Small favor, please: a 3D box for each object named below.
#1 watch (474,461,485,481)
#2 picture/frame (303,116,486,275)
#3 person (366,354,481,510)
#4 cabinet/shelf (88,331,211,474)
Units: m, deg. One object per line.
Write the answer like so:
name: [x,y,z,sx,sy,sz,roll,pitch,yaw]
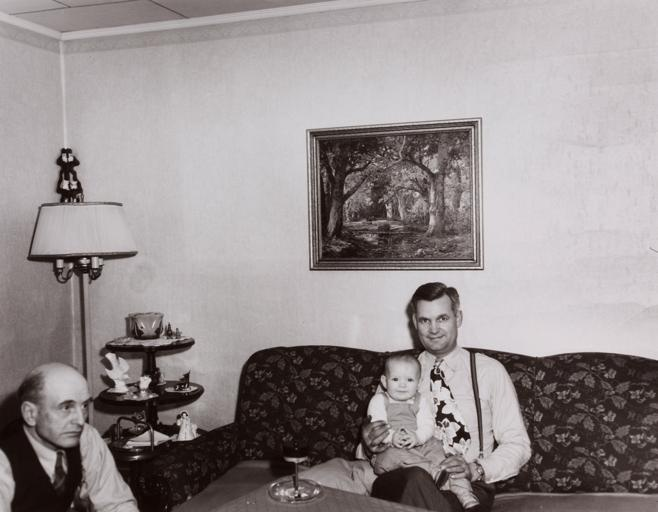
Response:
watch: [0.782,1.125,3.256,0.061,0.070,0.076,3,-16,-2]
picture/frame: [0.467,-0.406,3.979,1.016,0.838,0.044,0,3,18]
person: [0.408,0.856,3.313,0.386,0.677,0.858,-9,11,-14]
cabinet/shelf: [-1.173,0.848,4.083,0.771,0.787,0.814,0,3,-30]
